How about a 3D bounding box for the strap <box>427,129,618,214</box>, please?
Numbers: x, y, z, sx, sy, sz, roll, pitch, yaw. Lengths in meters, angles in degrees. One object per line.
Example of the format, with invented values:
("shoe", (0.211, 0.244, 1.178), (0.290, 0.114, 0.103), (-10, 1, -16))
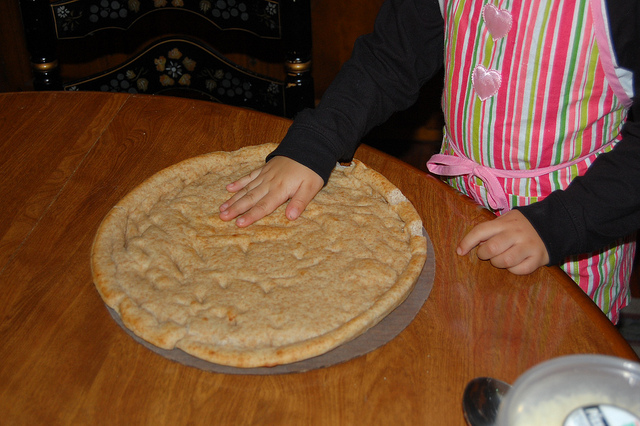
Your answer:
("strap", (0.557, -0.176, 1.537), (0.334, 0.215, 0.423), (-8, 20, -22))
